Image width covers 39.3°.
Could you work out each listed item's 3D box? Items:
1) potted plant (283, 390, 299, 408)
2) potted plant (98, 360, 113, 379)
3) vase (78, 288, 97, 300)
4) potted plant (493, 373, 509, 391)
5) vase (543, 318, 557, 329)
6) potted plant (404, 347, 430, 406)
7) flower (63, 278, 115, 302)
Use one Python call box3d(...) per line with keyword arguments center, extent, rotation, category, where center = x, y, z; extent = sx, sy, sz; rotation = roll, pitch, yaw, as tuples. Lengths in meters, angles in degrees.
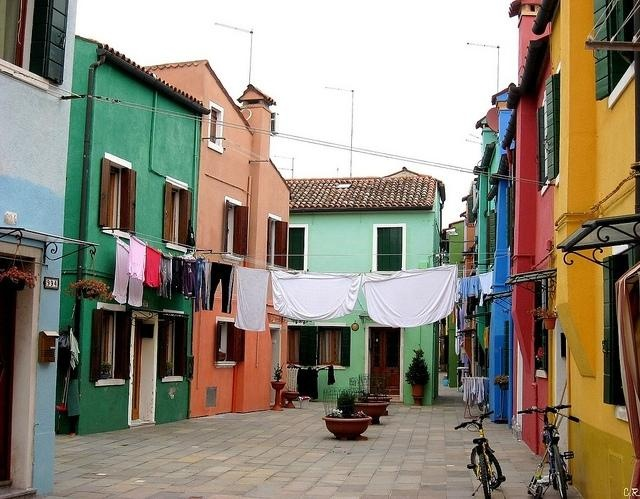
box3d(center=(-0.845, 4.216, 25.398), extent=(0.383, 0.344, 0.420), rotation=(-1, -10, 6), category="potted plant")
box3d(center=(-4.264, 2.370, 17.763), extent=(0.243, 0.333, 0.299), rotation=(-3, 0, -22), category="potted plant")
box3d(center=(-4.011, 0.748, 15.447), extent=(0.210, 0.227, 0.257), rotation=(4, -7, -30), category="vase")
box3d(center=(4.326, 3.145, 21.376), extent=(0.318, 0.355, 0.416), rotation=(-4, -14, 5), category="potted plant")
box3d(center=(3.523, 1.130, 13.790), extent=(0.158, 0.140, 0.172), rotation=(-3, -7, 19), category="vase")
box3d(center=(2.993, 3.888, 27.546), extent=(0.736, 1.699, 0.631), rotation=(-3, -12, 5), category="potted plant")
box3d(center=(-3.984, 0.654, 15.481), extent=(0.703, 0.406, 0.718), rotation=(2, -15, -18), category="flower")
